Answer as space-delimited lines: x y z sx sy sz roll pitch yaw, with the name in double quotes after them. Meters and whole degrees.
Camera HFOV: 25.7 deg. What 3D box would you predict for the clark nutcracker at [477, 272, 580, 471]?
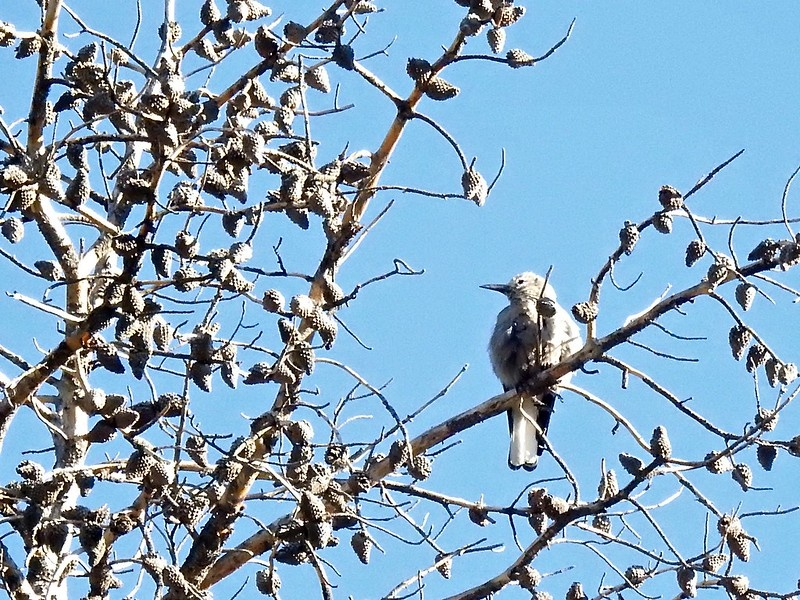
0.779 0.076 10.338 0.536 0.680 1.589 -3 -54 -3 "clark nutcracker"
